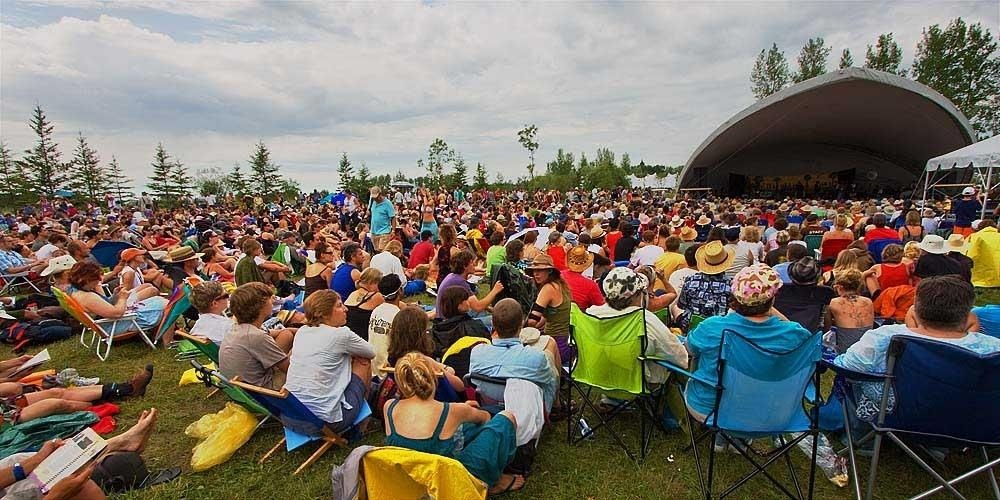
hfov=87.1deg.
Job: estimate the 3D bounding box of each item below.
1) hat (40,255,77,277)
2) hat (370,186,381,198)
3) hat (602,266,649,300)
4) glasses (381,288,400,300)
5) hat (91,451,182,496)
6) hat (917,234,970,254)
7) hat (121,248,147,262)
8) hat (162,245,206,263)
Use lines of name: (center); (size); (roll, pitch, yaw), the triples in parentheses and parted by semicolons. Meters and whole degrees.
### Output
hat: (-11.036, 0.413, 13.131); (0.565, 0.178, 0.464); (-22, 6, 8)
hat: (-4.044, -1.900, 17.176); (0.348, 0.237, 0.422); (3, 30, 7)
hat: (2.428, 0.679, 10.306); (0.844, 0.405, 0.537); (-28, 31, -16)
glasses: (-2.317, 0.950, 11.111); (0.319, 0.157, 0.230); (-18, -21, 18)
hat: (-6.998, 4.226, 10.223); (1.490, 0.477, 0.629); (-4, 9, -27)
hat: (10.599, -0.118, 12.503); (0.730, 0.198, 0.705); (-6, 9, 11)
hat: (-9.307, 0.100, 13.331); (0.508, 0.233, 0.309); (-10, 20, -23)
hat: (-8.356, 0.122, 13.735); (0.720, 0.190, 0.617); (-5, 9, -13)
